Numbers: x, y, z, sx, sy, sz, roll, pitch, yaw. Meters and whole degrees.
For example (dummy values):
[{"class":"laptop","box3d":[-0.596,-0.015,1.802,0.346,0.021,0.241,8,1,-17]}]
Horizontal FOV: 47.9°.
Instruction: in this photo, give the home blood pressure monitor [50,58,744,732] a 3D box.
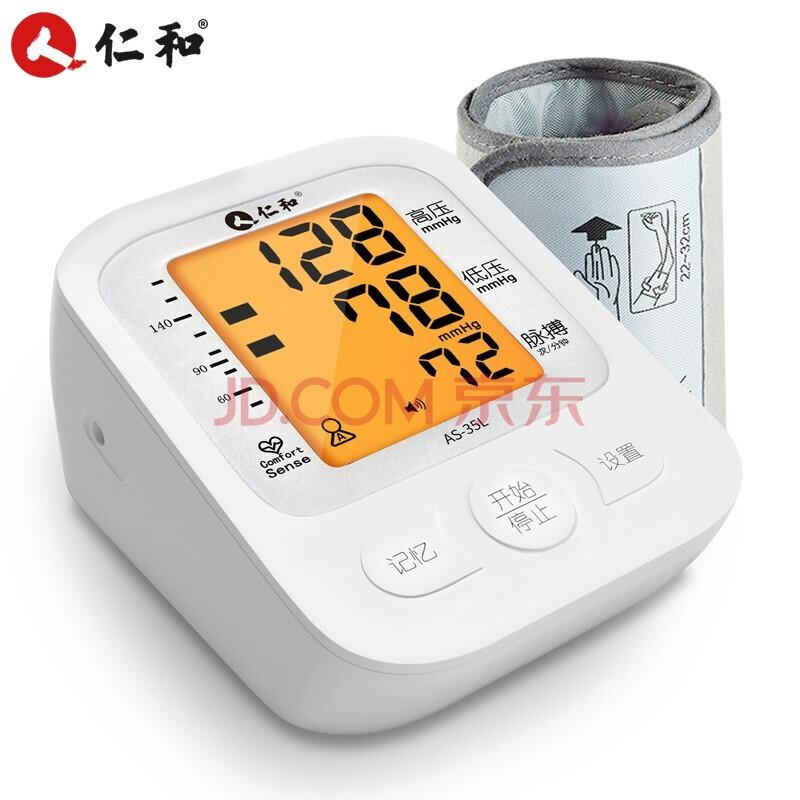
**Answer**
[{"class":"home blood pressure monitor","box3d":[-0.094,0.010,0.789,0.482,0.566,0.239,-25,-34,-29]}]
